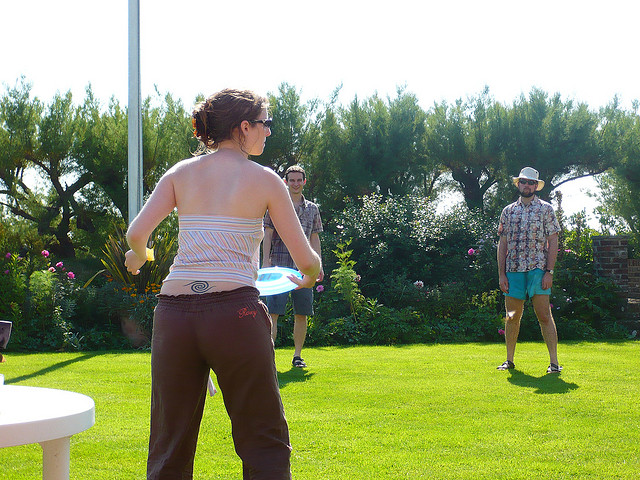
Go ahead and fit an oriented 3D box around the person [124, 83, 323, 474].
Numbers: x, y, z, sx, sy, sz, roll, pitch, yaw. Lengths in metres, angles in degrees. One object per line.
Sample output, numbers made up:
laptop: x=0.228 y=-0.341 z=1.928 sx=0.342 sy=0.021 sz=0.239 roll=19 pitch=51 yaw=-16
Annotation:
person: x=-0.666 y=0.261 z=4.344 sx=1.171 sy=2.619 sz=0.438 roll=0 pitch=3 yaw=5
